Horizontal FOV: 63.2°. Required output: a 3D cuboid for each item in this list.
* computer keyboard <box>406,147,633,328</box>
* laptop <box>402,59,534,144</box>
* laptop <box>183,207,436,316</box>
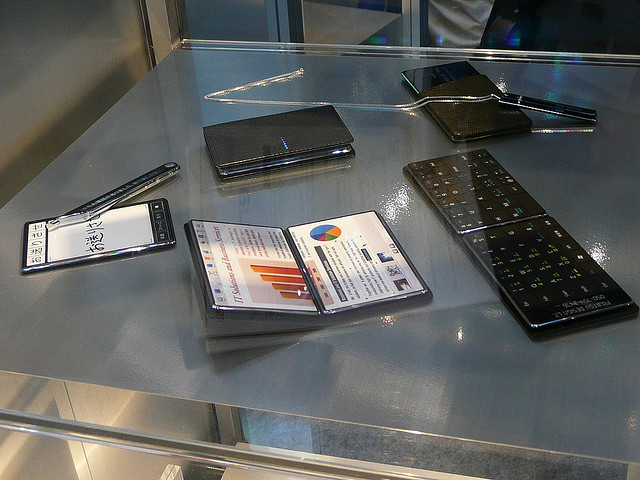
[{"bbox_3d":[0.251,-0.021,0.707,0.141,0.146,0.302,-17,21,-8],"label":"computer keyboard"},{"bbox_3d":[0.262,-0.256,0.957,0.172,0.125,0.255,-14,21,-1],"label":"laptop"},{"bbox_3d":[-0.010,0.031,0.644,0.214,0.043,0.154,-14,44,-8],"label":"laptop"}]
